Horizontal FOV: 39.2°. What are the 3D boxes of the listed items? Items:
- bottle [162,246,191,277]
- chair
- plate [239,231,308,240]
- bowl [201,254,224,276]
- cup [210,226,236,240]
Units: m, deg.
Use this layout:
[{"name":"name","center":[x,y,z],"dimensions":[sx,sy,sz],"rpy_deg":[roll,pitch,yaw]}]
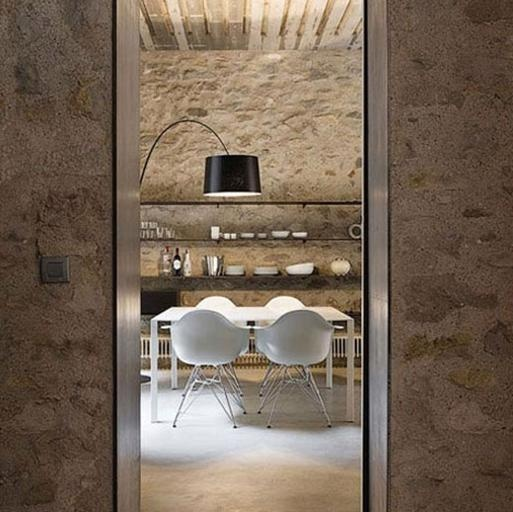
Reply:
[{"name":"bottle","center":[-0.695,0.047,6.214],"dimensions":[0.285,0.257,0.253],"rpy_deg":[-1,6,-8]},{"name":"chair","center":[-0.032,0.658,4.855],"dimensions":[0.997,0.805,1.153],"rpy_deg":[-1,6,-1]},{"name":"plate","center":[0.182,-0.192,6.104],"dimensions":[0.451,0.090,0.048],"rpy_deg":[0,4,21]},{"name":"bowl","center":[-0.374,0.088,6.206],"dimensions":[0.198,0.182,0.288],"rpy_deg":[-1,6,-4]},{"name":"cup","center":[-0.287,-0.193,6.234],"dimensions":[0.201,0.144,0.107],"rpy_deg":[0,0,-3]}]
